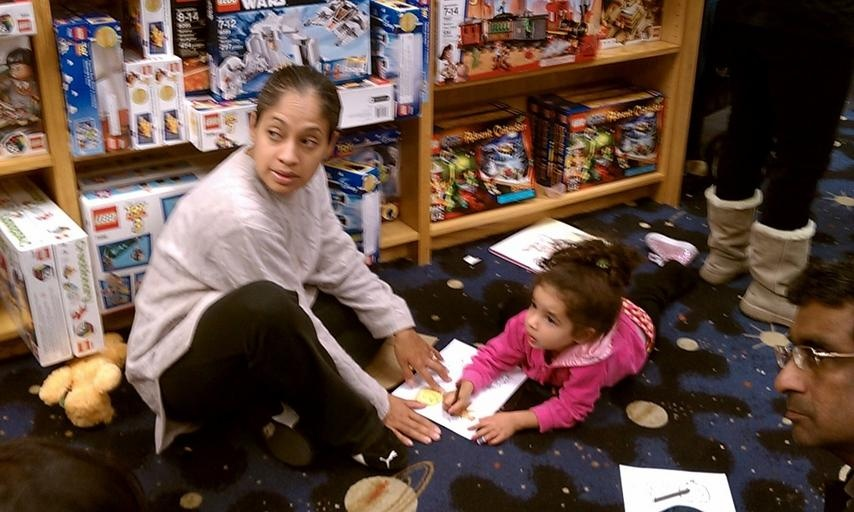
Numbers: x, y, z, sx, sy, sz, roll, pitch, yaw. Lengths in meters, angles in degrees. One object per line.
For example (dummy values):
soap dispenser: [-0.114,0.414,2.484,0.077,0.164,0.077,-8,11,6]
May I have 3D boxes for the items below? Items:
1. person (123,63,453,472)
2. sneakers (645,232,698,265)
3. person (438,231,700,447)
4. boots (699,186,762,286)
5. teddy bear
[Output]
person: [-0.464,0.007,1.950,0.996,1.101,0.924,-6,22,-33]
sneakers: [1.194,-0.039,2.784,0.230,0.058,0.128,14,75,29]
person: [0.477,0.262,2.026,0.876,0.574,0.368,-16,32,-23]
boots: [1.399,-0.106,2.658,0.335,0.388,0.252,-12,19,3]
teddy bear: [-1.200,0.419,2.120,0.283,0.157,0.366,-19,49,9]
